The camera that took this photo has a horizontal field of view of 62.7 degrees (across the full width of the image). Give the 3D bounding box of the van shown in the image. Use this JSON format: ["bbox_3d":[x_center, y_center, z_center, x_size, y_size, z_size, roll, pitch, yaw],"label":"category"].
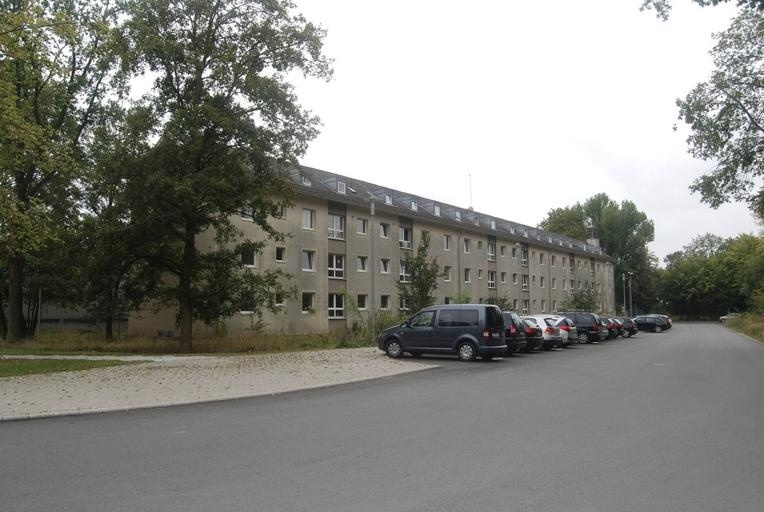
[{"bbox_3d":[2.682,2.983,25.497,4.001,1.815,2.309,-1,-6,27],"label":"van"}]
